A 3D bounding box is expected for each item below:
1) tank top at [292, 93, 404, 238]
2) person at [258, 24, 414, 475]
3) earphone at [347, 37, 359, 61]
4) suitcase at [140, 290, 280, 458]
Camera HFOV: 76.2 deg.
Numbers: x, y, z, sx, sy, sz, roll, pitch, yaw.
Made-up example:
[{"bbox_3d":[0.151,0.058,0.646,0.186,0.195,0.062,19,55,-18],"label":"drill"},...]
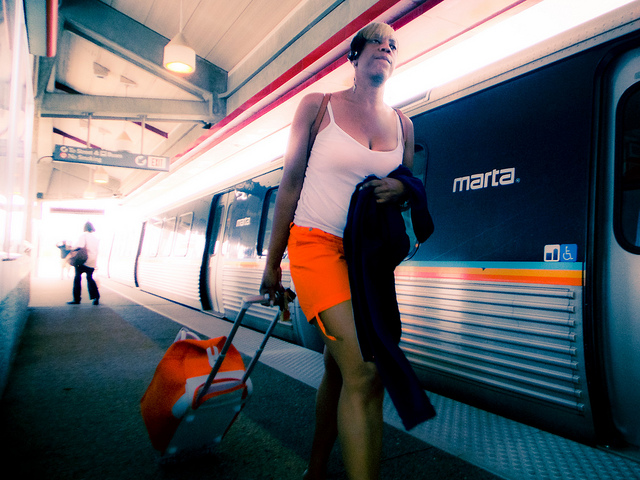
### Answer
[{"bbox_3d":[0.143,-0.287,1.704,0.456,0.608,0.343,28,-7,-28],"label":"tank top"},{"bbox_3d":[0.092,-0.029,1.719,0.757,1.781,0.396,1,-1,5],"label":"person"},{"bbox_3d":[0.199,-0.846,1.837,0.032,0.087,0.089,2,-1,-15],"label":"earphone"},{"bbox_3d":[-0.655,0.612,2.210,0.588,1.215,0.523,21,20,-19],"label":"suitcase"}]
